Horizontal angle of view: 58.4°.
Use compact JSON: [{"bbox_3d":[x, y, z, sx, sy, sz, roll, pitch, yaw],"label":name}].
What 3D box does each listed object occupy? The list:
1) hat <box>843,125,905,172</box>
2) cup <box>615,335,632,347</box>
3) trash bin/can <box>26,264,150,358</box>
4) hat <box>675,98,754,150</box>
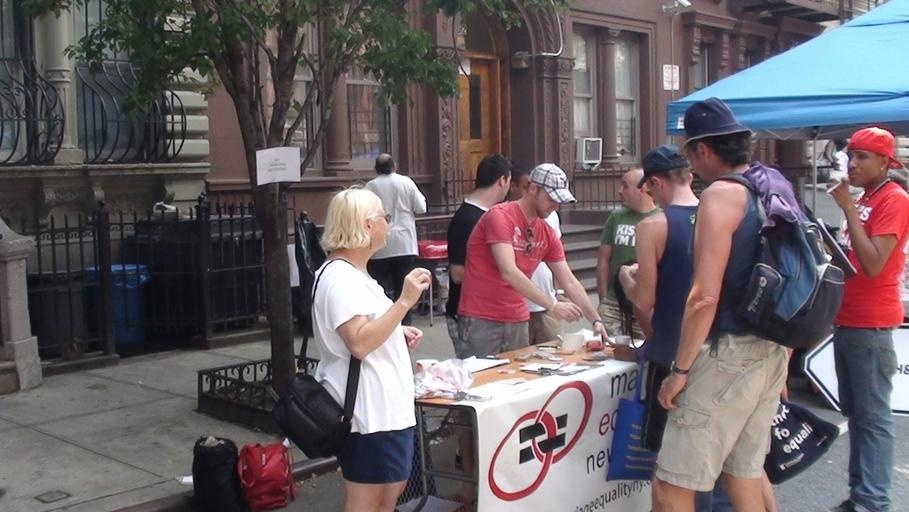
[{"bbox_3d":[4.590,-1.233,8.821,0.609,0.420,0.441,16,4,2],"label":"hat"},{"bbox_3d":[1.709,0.861,8.325,0.128,0.096,0.132,0,-4,0],"label":"cup"},{"bbox_3d":[-5.389,0.801,11.994,1.016,1.327,1.830,-2,3,21],"label":"trash bin/can"},{"bbox_3d":[2.298,-1.188,7.360,0.491,0.275,0.383,-17,6,41],"label":"hat"}]
